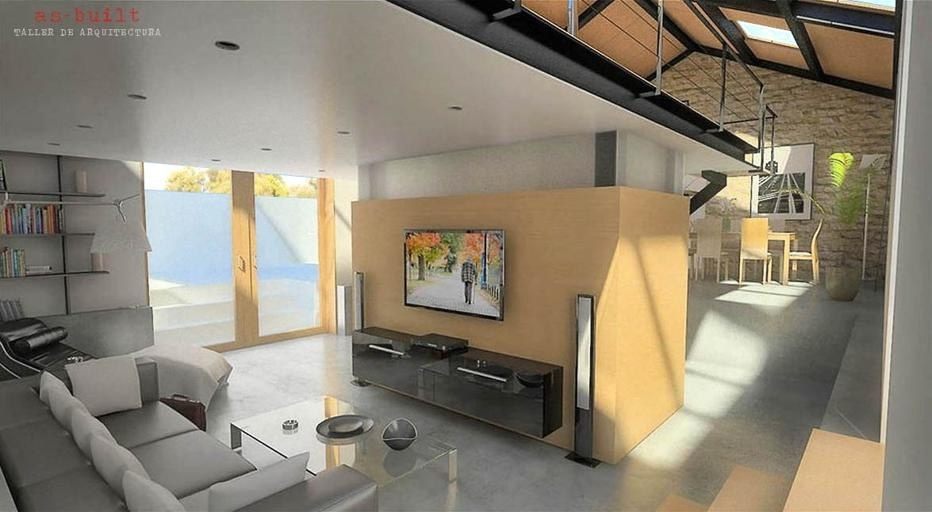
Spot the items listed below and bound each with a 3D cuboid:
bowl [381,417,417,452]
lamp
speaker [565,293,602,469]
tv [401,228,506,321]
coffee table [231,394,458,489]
[{"bbox_3d":[-0.702,1.947,5.885,0.375,0.134,0.383,-3,20,1],"label":"bowl"},{"bbox_3d":[-5.368,-0.401,7.405,1.736,0.883,2.190,-4,5,-29],"label":"lamp"},{"bbox_3d":[1.397,1.447,6.371,0.353,1.980,0.297,1,7,21],"label":"speaker"},{"bbox_3d":[-0.115,0.231,7.286,1.447,0.847,0.034,6,10,37],"label":"tv"},{"bbox_3d":[-1.408,2.025,6.031,1.695,0.297,1.040,5,7,35],"label":"coffee table"}]
